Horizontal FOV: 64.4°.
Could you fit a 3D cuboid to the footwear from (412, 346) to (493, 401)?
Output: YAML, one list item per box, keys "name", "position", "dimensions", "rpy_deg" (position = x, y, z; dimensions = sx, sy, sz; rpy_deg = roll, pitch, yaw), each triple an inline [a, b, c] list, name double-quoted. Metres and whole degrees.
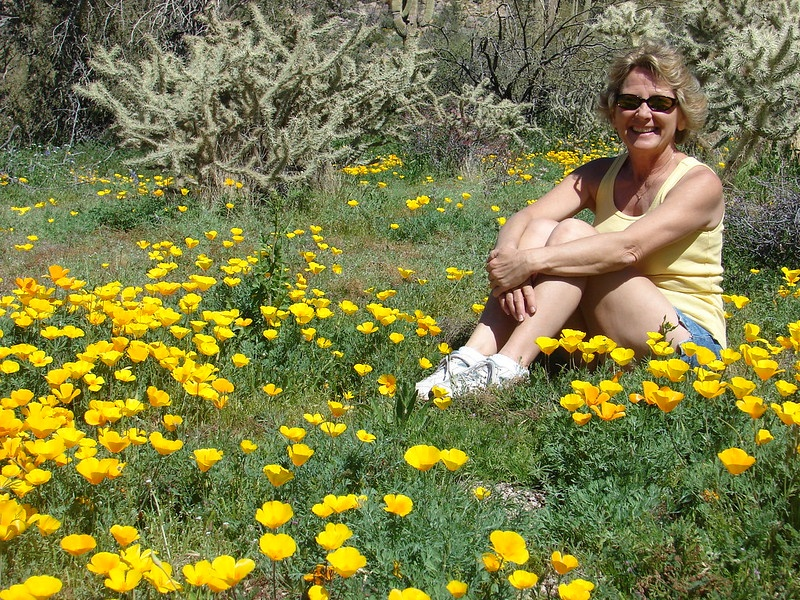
- name: "footwear"
  position: [0.259, 0.355, 3.261]
  dimensions: [0.481, 0.205, 0.163]
  rpy_deg: [-14, 19, -28]

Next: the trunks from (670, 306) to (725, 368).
- name: "trunks"
  position: [1.431, 0.180, 3.065]
  dimensions: [0.236, 0.058, 0.147]
  rpy_deg: [43, 25, 14]
